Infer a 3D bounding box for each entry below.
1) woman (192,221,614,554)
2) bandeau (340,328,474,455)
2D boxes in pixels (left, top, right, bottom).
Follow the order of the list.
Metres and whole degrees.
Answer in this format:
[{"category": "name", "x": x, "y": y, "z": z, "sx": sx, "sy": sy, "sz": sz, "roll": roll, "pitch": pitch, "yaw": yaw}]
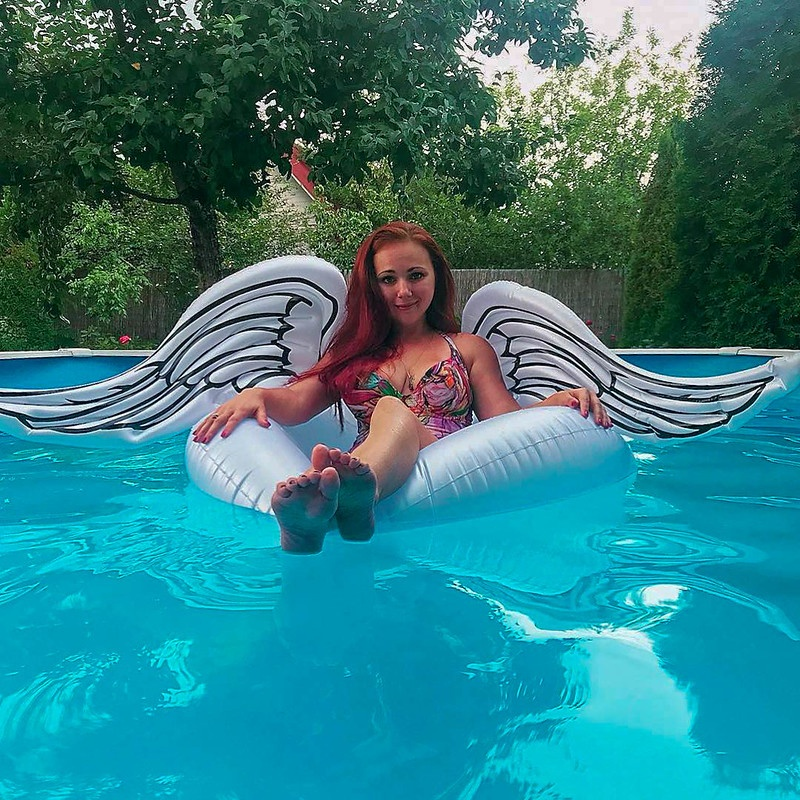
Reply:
[{"category": "woman", "x": -0.156, "y": -0.149, "z": 2.553, "sx": 1.182, "sy": 0.935, "sz": 1.566, "roll": 8, "pitch": 13, "yaw": 38}, {"category": "bandeau", "x": 0.053, "y": -0.023, "z": 2.741, "sx": 0.501, "sy": 0.374, "sz": 0.380, "roll": -2, "pitch": 11, "yaw": -7}]
